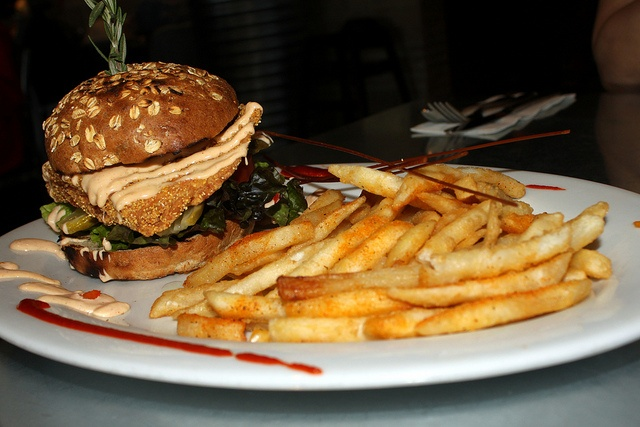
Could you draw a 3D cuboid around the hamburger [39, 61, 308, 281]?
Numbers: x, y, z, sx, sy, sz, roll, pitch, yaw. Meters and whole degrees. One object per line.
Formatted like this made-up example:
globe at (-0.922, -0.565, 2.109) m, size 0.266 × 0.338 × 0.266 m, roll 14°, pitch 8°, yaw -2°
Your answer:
hamburger at (-1.064, -0.258, 3.846) m, size 1.618 × 1.357 × 1.196 m, roll 0°, pitch 2°, yaw -9°
